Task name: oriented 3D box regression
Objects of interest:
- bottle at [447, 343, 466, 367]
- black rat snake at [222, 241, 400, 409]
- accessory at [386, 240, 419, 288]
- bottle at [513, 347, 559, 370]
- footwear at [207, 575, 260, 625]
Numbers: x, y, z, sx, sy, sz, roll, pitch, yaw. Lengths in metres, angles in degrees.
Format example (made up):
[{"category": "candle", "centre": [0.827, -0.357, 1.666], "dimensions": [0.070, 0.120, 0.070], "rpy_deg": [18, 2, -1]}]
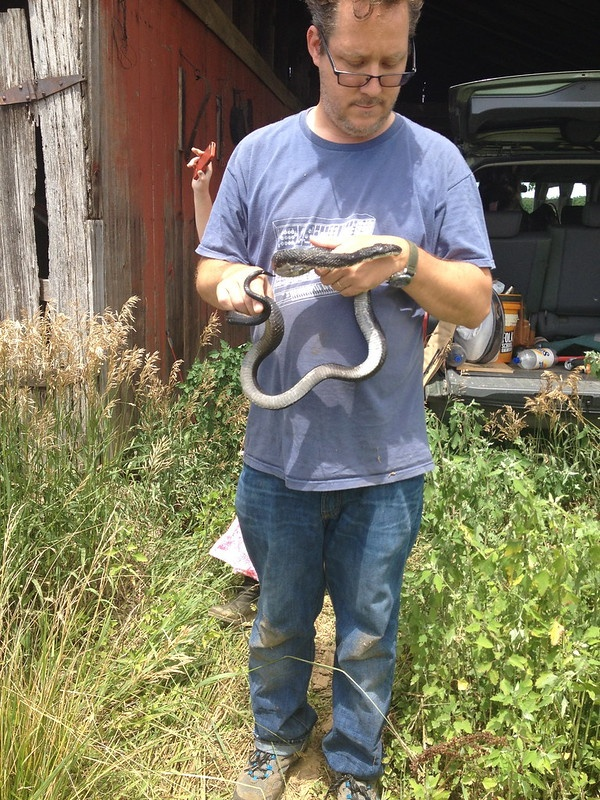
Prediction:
[{"category": "bottle", "centre": [1.068, -0.321, 4.957], "dimensions": [0.138, 0.145, 0.151], "rpy_deg": [-22, -5, 24]}, {"category": "black rat snake", "centre": [0.032, -0.201, 1.988], "dimensions": [0.467, 0.498, 0.309], "rpy_deg": [11, 13, 19]}, {"category": "accessory", "centre": [0.279, -0.351, 1.888], "dimensions": [0.031, 0.102, 0.094], "rpy_deg": [28, -16, -18]}, {"category": "bottle", "centre": [1.718, -0.313, 5.326], "dimensions": [0.255, 0.144, 0.442], "rpy_deg": [14, 15, 31]}, {"category": "footwear", "centre": [-0.278, 0.951, 3.340], "dimensions": [0.106, 0.190, 0.282], "rpy_deg": [2, -12, 33]}]
